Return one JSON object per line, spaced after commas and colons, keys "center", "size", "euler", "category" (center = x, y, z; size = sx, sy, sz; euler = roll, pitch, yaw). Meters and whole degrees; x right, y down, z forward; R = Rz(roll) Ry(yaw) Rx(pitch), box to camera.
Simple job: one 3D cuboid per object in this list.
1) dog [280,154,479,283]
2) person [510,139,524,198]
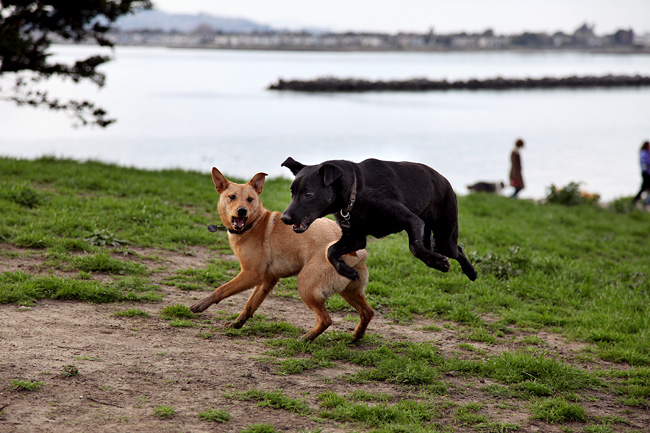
{"center": [1.188, 0.092, 21.795], "size": [4.182, 2.314, 1.739], "euler": [-4, 9, -31], "category": "dog"}
{"center": [5.618, -1.396, 34.468], "size": [0.423, 1.703, 1.078], "euler": [5, 4, 9], "category": "person"}
